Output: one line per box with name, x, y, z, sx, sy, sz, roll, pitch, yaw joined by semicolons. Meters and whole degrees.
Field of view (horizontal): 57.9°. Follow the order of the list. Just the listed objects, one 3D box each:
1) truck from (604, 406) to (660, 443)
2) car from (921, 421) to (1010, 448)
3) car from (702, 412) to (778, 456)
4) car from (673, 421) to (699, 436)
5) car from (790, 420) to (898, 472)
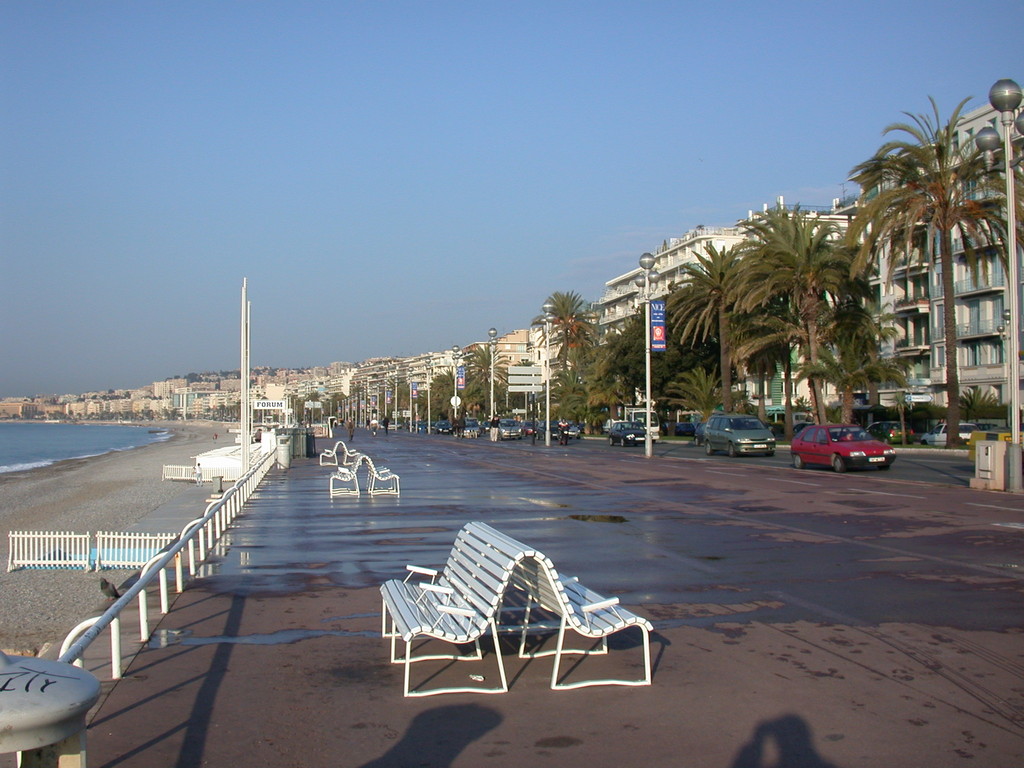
truck;7.997;2.788;63.172;3.150;2.202;4.875;-1;-5;-14
car;22.956;2.574;46.792;1.843;1.019;3.211;-1;3;-23
car;10.995;2.542;45.300;1.891;1.290;3.122;1;-5;-15
car;15.324;3.959;81.354;1.625;1.044;3.319;-1;-5;-5
car;11.923;2.306;33.505;1.715;1.722;3.906;-2;-1;-13
